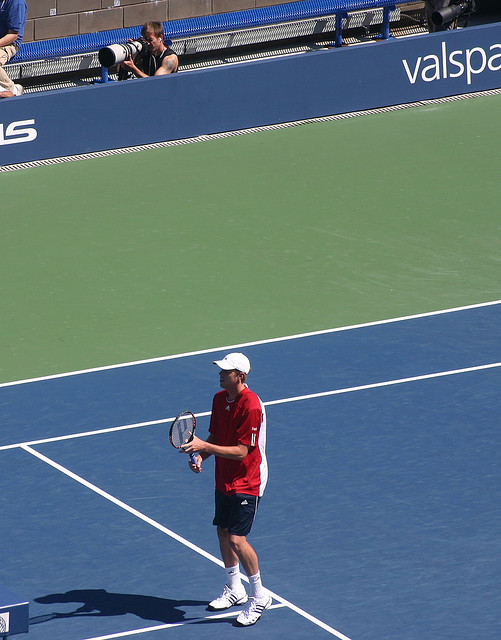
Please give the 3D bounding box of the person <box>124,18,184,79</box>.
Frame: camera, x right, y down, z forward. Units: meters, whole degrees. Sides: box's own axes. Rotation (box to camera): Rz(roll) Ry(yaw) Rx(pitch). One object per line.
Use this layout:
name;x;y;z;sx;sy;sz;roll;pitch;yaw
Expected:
person;-1.426;-3.651;19.284;0.805;1.055;0.684;9;26;4

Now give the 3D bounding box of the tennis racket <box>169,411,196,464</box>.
tennis racket;-0.428;0.679;8.902;0.089;0.254;0.341;7;22;19

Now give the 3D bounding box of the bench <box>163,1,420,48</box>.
bench;0.404;-4.777;22.445;3.749;0.785;1.455;-4;21;-8

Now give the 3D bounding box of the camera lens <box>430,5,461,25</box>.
camera lens;2.804;-4.537;20.677;0.621;0.171;0.170;-27;1;-34

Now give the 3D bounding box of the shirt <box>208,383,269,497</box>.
shirt;-0.113;0.801;9.342;0.465;0.701;0.420;-14;31;-37

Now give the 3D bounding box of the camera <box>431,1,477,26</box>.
camera;3.047;-4.659;21.000;0.322;0.286;0.976;21;29;37

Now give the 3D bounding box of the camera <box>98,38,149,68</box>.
camera;-1.700;-3.649;18.872;0.314;0.380;1.193;9;22;18

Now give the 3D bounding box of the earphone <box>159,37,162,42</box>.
earphone;-1.242;-3.835;18.882;0.037;0.047;0.045;1;12;24
